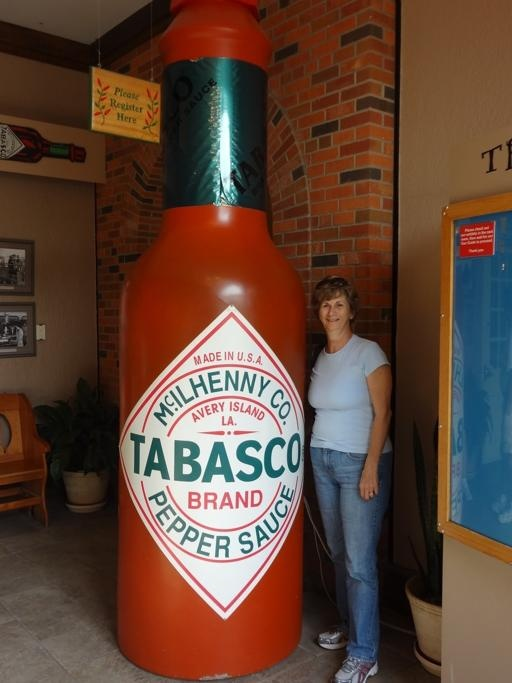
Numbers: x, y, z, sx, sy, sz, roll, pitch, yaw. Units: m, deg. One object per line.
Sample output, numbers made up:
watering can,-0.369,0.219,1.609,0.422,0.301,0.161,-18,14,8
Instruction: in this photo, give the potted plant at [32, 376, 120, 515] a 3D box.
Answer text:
potted plant,-1.315,0.782,4.306,0.480,0.748,0.481,-2,-3,-17
